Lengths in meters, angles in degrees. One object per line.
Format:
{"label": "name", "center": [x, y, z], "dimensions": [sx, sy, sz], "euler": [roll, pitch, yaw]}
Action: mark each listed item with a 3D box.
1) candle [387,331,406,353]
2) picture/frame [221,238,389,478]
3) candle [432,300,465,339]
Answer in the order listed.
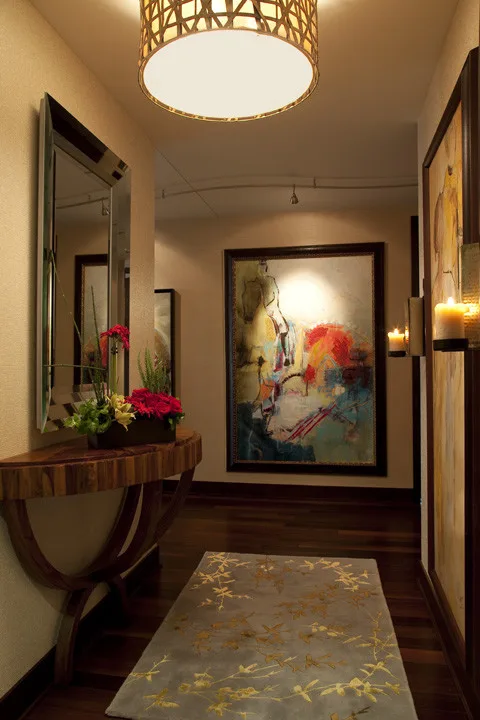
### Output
{"label": "candle", "center": [0.929, -0.120, 3.022], "dimensions": [0.091, 0.152, 0.228], "euler": [-2, -3, 18]}
{"label": "picture/frame", "center": [0.655, 0.010, 4.648], "dimensions": [1.772, 3.005, 0.109], "euler": [0, 0, 16]}
{"label": "candle", "center": [0.596, -0.112, 1.458], "dimensions": [0.075, 0.115, 0.101], "euler": [-2, -3, 20]}
